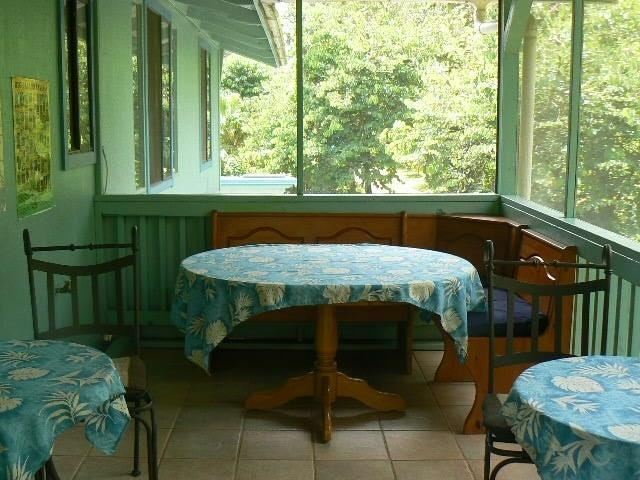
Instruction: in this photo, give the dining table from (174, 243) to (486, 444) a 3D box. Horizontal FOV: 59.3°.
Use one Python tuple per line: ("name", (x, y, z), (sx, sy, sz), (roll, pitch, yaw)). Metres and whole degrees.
("dining table", (-0.052, 0.736, 3.536), (1.623, 0.762, 1.211), (0, 0, 1))
